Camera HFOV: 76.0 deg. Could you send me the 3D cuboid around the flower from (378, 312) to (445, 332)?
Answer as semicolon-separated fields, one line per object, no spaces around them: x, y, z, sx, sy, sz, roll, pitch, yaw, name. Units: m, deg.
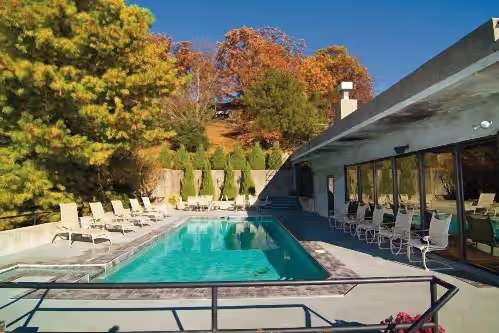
3.207;3.126;6.340;0.947;0.414;0.965;2;-12;3;flower
